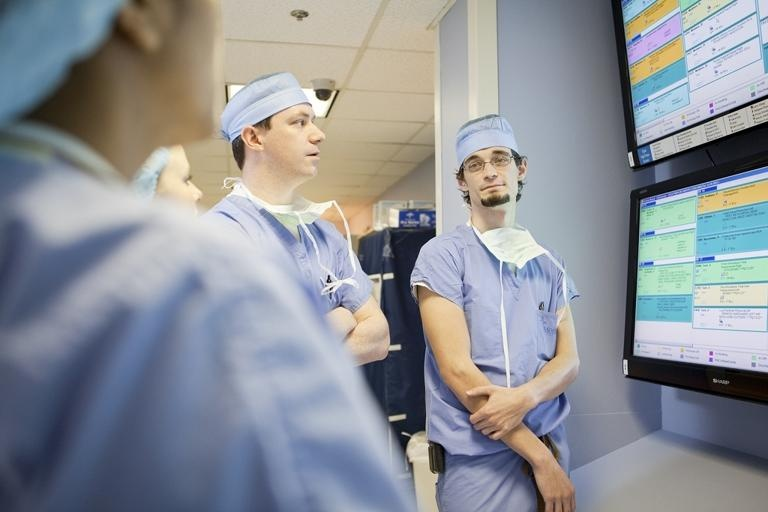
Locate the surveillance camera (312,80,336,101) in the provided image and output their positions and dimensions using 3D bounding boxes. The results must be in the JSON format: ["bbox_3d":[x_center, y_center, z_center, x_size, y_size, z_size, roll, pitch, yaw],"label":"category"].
[{"bbox_3d":[-0.395,-1.080,3.822,0.096,0.078,0.099,-1,-7,-1],"label":"surveillance camera"}]
